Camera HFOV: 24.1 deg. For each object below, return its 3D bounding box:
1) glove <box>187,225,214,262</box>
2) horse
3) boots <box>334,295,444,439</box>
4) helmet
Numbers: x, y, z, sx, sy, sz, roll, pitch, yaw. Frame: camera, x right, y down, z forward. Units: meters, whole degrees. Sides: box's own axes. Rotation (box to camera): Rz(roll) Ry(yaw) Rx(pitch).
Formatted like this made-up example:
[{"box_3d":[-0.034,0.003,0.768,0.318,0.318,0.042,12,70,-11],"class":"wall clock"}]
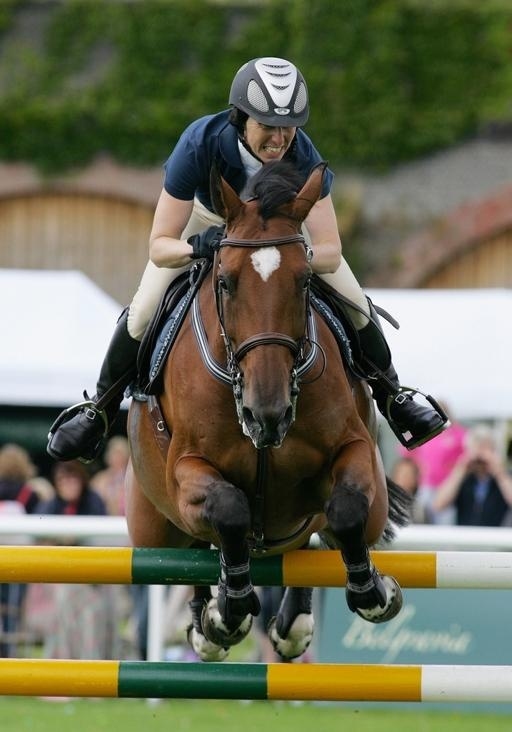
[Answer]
[{"box_3d":[-0.189,-0.434,4.298,0.082,0.120,0.053,31,50,15],"class":"glove"},{"box_3d":[0.021,0.175,4.386,0.875,1.681,1.316,0,-10,-8],"class":"horse"},{"box_3d":[0.565,0.099,4.980,0.291,0.786,0.244,-18,-10,-12],"class":"boots"},{"box_3d":[0.062,-1.050,4.552,0.297,0.189,0.386,-8,30,-19],"class":"helmet"}]
